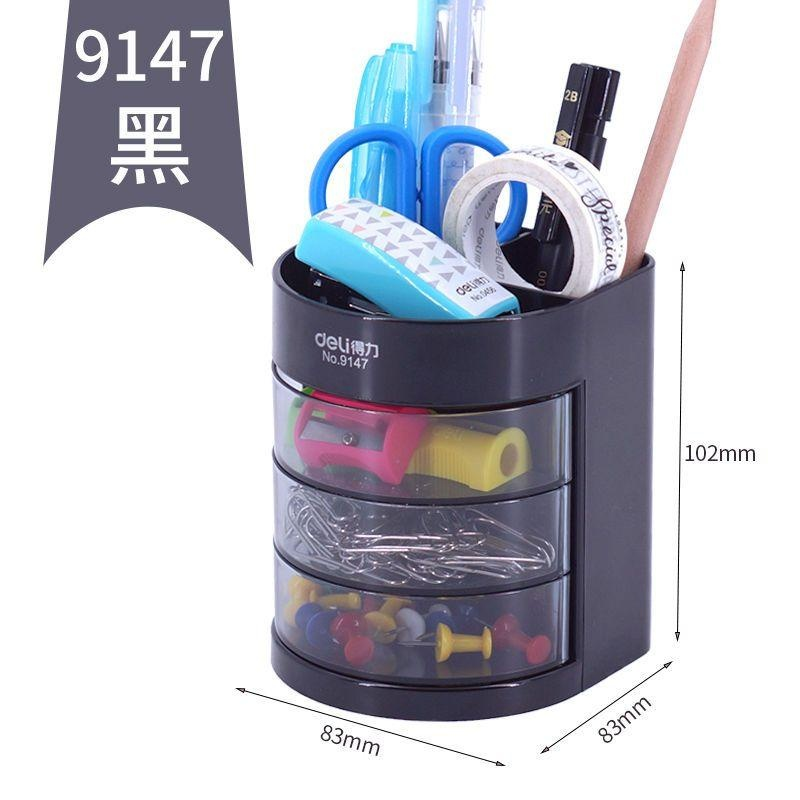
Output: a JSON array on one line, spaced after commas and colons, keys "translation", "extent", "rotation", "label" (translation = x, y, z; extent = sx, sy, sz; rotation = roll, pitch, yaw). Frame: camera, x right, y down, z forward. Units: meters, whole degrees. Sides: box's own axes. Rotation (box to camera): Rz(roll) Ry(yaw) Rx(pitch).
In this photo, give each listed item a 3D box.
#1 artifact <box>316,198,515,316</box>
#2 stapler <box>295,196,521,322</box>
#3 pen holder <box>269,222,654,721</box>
[{"translation": [0.000, -0.174, 1.485], "extent": [0.294, 0.078, 0.140], "rotation": [34, 40, 5], "label": "artifact"}, {"translation": [0.001, -0.201, 1.458], "extent": [0.302, 0.084, 0.158], "rotation": [30, 37, 15], "label": "stapler"}, {"translation": [0.102, 0.131, 1.776], "extent": [0.659, 0.644, 0.635], "rotation": [-3, 11, -6], "label": "pen holder"}]
